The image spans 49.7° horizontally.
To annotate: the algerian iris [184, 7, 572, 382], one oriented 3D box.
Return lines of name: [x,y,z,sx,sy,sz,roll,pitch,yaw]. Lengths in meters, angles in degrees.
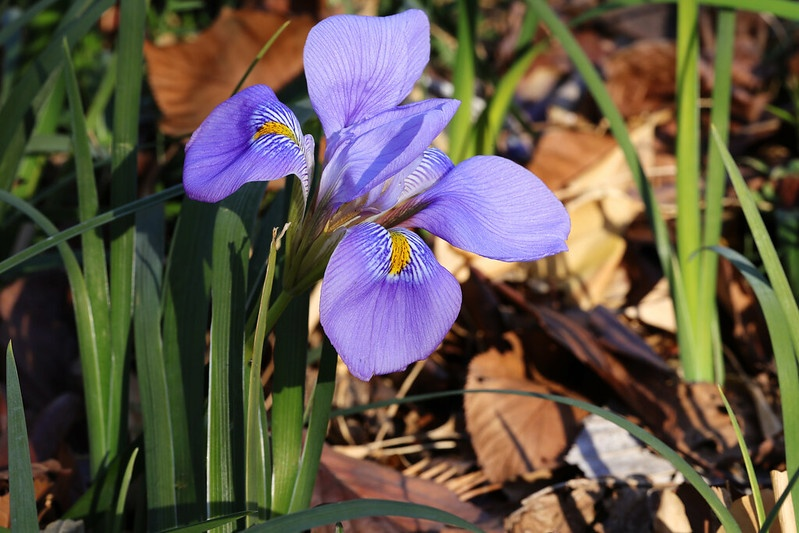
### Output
algerian iris: [-0.030,-0.186,2.187,0.786,0.899,0.385,27,-8,-4]
